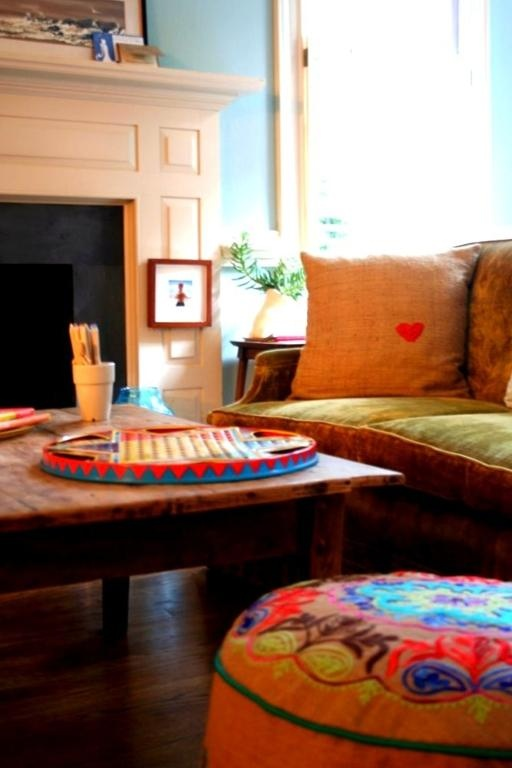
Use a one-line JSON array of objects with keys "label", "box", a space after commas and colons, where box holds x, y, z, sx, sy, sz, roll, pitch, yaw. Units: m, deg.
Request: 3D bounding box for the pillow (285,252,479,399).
[{"label": "pillow", "box": [0.442, -0.197, 2.113, 0.629, 0.554, 0.235, 0, 2, 7]}]

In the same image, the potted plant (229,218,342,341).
[{"label": "potted plant", "box": [0.110, -0.482, 3.261, 0.349, 0.514, 0.403, 11, -2, 30]}]

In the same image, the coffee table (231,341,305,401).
[{"label": "coffee table", "box": [0.062, -0.065, 3.150, 0.341, 0.321, 0.291, -2, 7, 1]}]
